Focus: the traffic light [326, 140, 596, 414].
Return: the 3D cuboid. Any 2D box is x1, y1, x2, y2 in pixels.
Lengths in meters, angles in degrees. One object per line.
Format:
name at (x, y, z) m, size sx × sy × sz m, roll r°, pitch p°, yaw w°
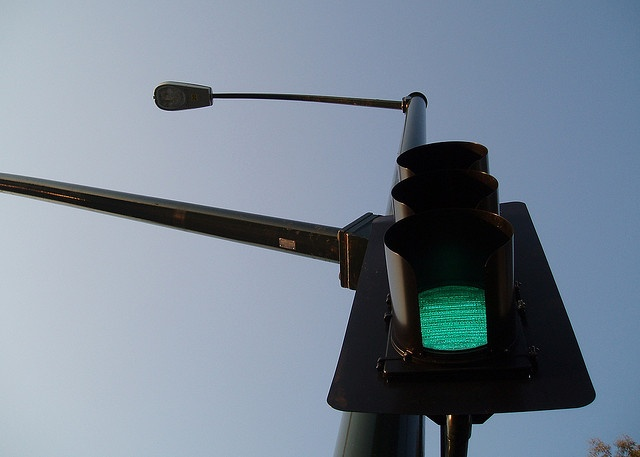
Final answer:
traffic light at (0.592, 0.341, 3.197) m, size 0.861 × 1.269 × 1.160 m, roll -4°, pitch -82°, yaw 12°
